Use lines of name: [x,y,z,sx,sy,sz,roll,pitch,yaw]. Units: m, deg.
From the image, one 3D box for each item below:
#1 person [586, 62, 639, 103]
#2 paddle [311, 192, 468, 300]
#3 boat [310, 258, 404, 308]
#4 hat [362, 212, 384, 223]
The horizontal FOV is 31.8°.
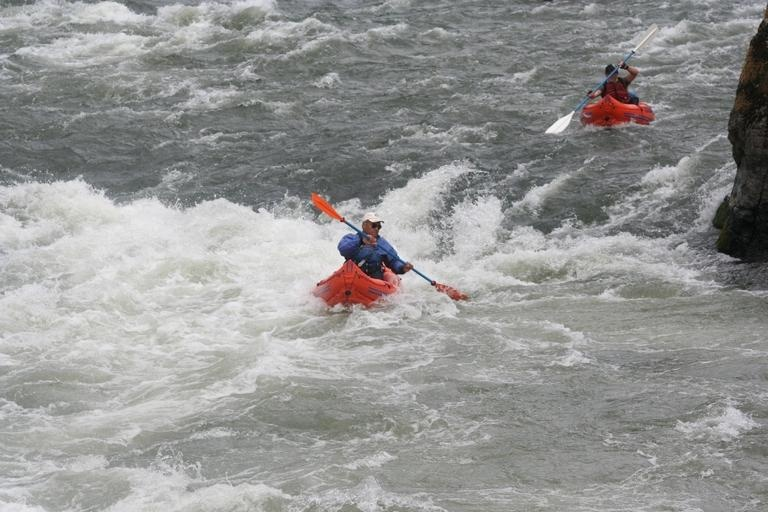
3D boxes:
person: [6.207,-4.478,35.798,1.267,0.555,1.513,16,54,24]
paddle: [0.111,-0.121,31.293,4.921,0.472,0.226,27,61,5]
boat: [-0.689,0.623,29.683,1.726,0.986,0.332,-2,14,-4]
hat: [-0.285,-0.845,30.548,0.406,0.208,0.308,-2,10,-3]
